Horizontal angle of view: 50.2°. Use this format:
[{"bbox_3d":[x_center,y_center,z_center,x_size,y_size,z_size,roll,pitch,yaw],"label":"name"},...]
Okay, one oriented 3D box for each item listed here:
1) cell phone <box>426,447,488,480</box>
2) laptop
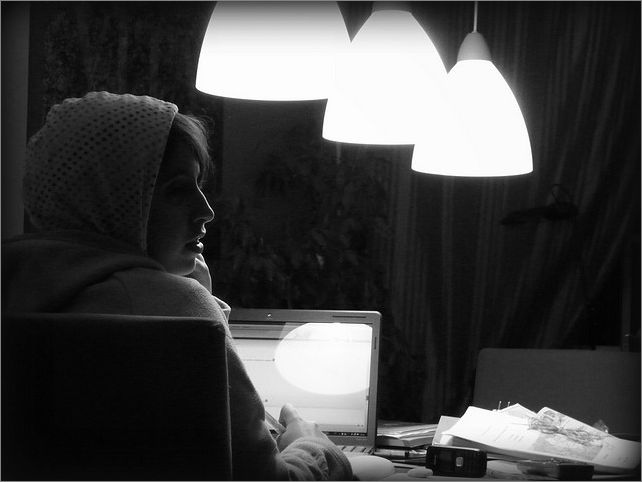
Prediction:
[{"bbox_3d":[0.268,0.439,1.339,0.118,0.049,0.022,3,3,14],"label":"cell phone"},{"bbox_3d":[-0.026,0.314,1.706,0.437,0.295,0.269,3,4,9],"label":"laptop"}]
